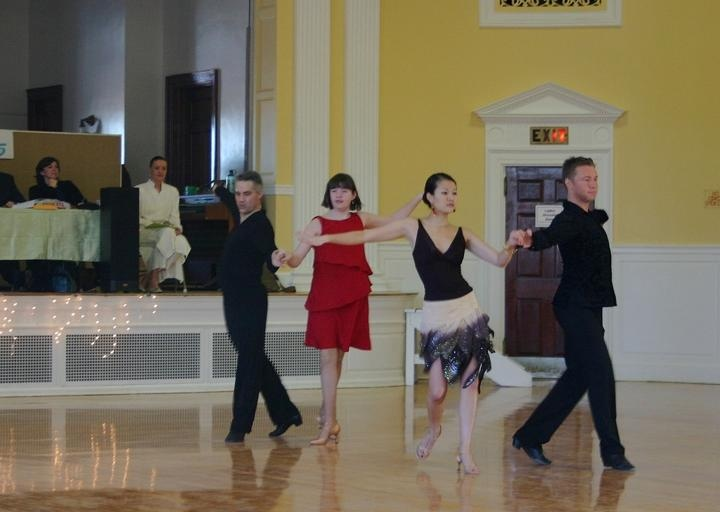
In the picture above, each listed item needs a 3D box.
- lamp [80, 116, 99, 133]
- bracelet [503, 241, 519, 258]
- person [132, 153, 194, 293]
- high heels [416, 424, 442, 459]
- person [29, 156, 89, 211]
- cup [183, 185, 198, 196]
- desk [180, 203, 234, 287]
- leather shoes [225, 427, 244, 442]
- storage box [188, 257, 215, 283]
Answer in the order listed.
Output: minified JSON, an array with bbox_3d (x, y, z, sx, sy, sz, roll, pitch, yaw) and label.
[{"bbox_3d":[-4.607,-2.232,13.035,0.195,0.288,0.566,-6,10,-43],"label":"lamp"},{"bbox_3d":[1.180,-0.059,6.036,0.065,0.098,0.290,14,20,7],"label":"bracelet"},{"bbox_3d":[-2.275,-0.371,8.866,0.544,1.523,0.882,-2,7,-17],"label":"person"},{"bbox_3d":[0.522,1.375,5.799,0.120,0.178,0.394,3,9,27],"label":"high heels"},{"bbox_3d":[-3.757,-0.922,9.476,0.422,0.573,0.702,3,7,18],"label":"person"},{"bbox_3d":[-2.580,-0.978,11.604,0.240,0.183,0.160,2,3,5],"label":"cup"},{"bbox_3d":[-1.823,-0.102,9.153,0.928,1.035,0.536,-2,-1,13],"label":"desk"},{"bbox_3d":[-1.026,1.449,6.270,0.129,0.135,0.086,10,-15,-7],"label":"leather shoes"},{"bbox_3d":[-2.053,0.180,9.958,0.286,0.268,0.154,3,3,15],"label":"storage box"}]
